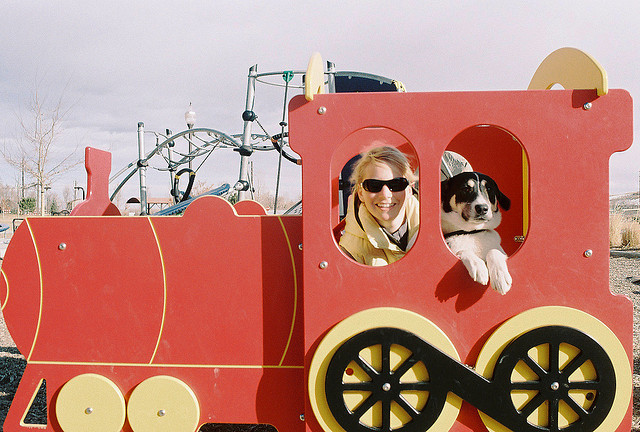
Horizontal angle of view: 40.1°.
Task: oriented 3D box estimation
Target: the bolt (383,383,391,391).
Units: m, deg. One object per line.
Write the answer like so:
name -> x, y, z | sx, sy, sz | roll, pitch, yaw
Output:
bolt -> 0.480, 1.237, 6.396 | 0.051, 0.059, 0.015 | 0, 1, -2

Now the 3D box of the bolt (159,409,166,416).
bolt -> -1.184, 1.459, 6.556 | 0.033, 0.047, 0.017 | 2, -11, -1

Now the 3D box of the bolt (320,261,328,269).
bolt -> 0.024, 0.350, 6.424 | 0.045, 0.052, 0.014 | 1, -1, 1

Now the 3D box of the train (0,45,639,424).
train -> 0.128, 0.140, 6.569 | 4.322, 2.942, 0.538 | 1, -3, 7

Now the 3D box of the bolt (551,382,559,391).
bolt -> 1.700, 1.226, 6.375 | 0.053, 0.062, 0.013 | 0, -4, 2

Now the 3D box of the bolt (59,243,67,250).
bolt -> -1.942, 0.223, 6.618 | 0.047, 0.055, 0.012 | 4, -1, -5

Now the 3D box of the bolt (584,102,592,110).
bolt -> 1.937, -0.802, 6.364 | 0.054, 0.050, 0.005 | 1, -3, 5

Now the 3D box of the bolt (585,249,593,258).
bolt -> 1.948, 0.266, 6.387 | 0.055, 0.060, 0.010 | 2, -3, -8

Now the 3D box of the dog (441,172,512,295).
dog -> 1.144, 0.064, 6.550 | 0.376, 0.560, 0.976 | 0, 25, -5

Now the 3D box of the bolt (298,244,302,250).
bolt -> -0.152, 0.221, 6.537 | 0.037, 0.043, 0.012 | -4, -6, -3

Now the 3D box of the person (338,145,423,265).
person -> 0.488, -0.074, 6.835 | 0.782, 0.916, 0.485 | -2, -8, 0
